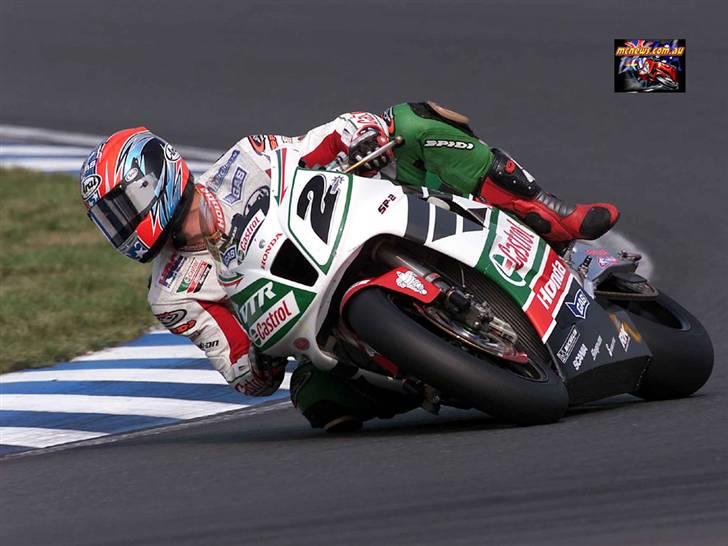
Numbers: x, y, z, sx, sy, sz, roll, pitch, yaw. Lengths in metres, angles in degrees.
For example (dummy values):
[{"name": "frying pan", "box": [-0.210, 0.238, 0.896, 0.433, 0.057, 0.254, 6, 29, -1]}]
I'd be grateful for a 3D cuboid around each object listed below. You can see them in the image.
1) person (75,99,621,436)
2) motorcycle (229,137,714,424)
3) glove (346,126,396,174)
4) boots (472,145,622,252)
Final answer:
[{"name": "person", "box": [0.041, -0.094, 3.710, 3.003, 0.969, 1.474, 5, 12, -23]}, {"name": "motorcycle", "box": [0.871, 0.115, 3.401, 1.389, 0.752, 2.663, 29, 21, 37]}, {"name": "glove", "box": [0.002, -0.557, 3.174, 0.103, 0.181, 0.241, 51, -4, -39]}, {"name": "boots", "box": [0.872, -0.349, 3.494, 0.880, 0.292, 0.227, 8, 14, -19]}]
